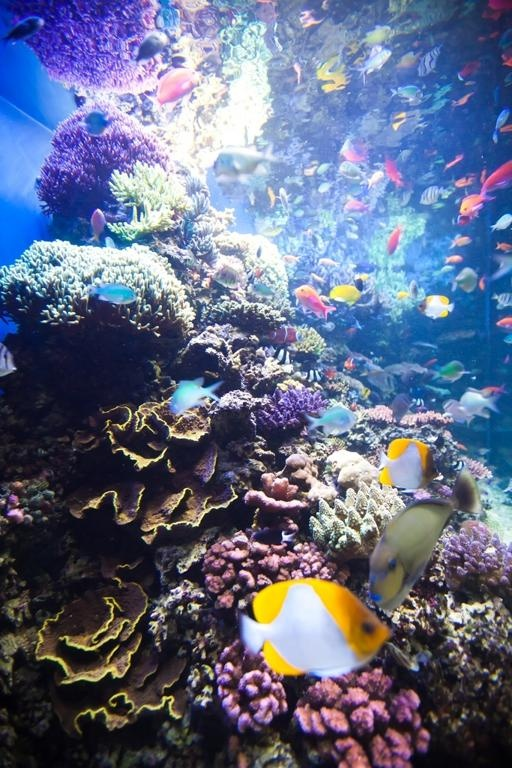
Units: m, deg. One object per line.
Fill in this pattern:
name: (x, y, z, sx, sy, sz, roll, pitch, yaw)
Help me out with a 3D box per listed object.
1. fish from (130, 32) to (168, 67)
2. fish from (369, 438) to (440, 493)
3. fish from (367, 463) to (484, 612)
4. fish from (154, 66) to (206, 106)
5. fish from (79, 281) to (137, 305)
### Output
fish: (-1.283, -4.124, 7.026, 0.285, 0.460, 0.443, 3, 5, -3)
fish: (1.371, 0.741, 5.178, 0.582, 0.484, 0.172, 7, 2, 16)
fish: (1.253, 1.349, 4.626, 0.670, 0.875, 0.210, 1, 6, -25)
fish: (-0.984, -3.662, 7.123, 0.536, 0.358, 0.158, -32, 11, 1)
fish: (-1.628, -1.006, 6.423, 0.478, 0.212, 0.552, 2, 5, -18)
